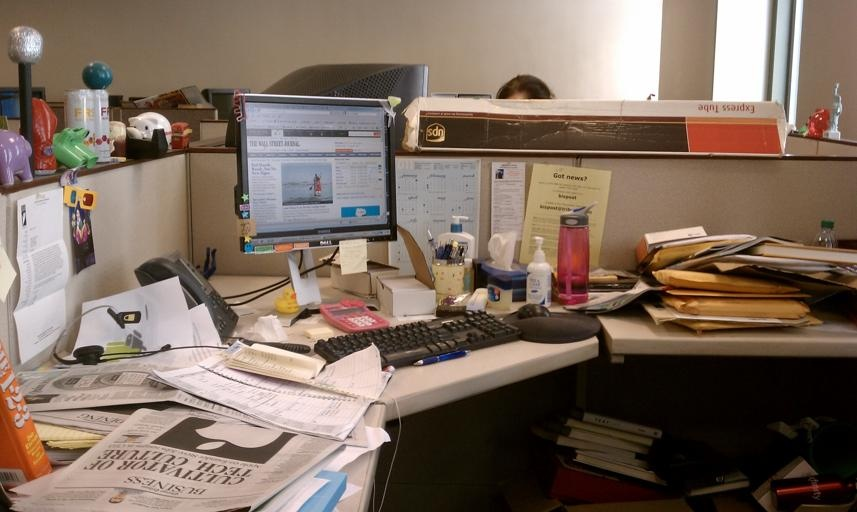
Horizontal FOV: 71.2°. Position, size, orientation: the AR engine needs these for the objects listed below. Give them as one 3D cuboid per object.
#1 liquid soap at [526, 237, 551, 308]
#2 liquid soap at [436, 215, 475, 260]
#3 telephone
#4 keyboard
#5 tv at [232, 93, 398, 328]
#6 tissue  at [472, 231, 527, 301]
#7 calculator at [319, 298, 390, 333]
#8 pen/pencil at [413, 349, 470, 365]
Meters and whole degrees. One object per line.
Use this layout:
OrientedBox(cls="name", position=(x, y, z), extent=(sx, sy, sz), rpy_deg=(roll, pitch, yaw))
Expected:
OrientedBox(cls="liquid soap", position=(0.350, 0.079, 1.903), extent=(0.075, 0.178, 0.092), rpy_deg=(0, 15, 9))
OrientedBox(cls="liquid soap", position=(0.116, -0.057, 2.080), extent=(0.138, 0.171, 0.067), rpy_deg=(4, 23, 36))
OrientedBox(cls="telephone", position=(-0.724, 0.121, 1.827), extent=(0.214, 0.248, 0.266), rpy_deg=(-11, 6, -13))
OrientedBox(cls="keyboard", position=(-0.020, 0.211, 1.674), extent=(0.472, 0.112, 0.303), rpy_deg=(-2, 1, -38))
OrientedBox(cls="tv", position=(-0.369, -0.178, 1.917), extent=(0.580, 0.655, 0.196), rpy_deg=(-9, 21, -36))
OrientedBox(cls="tissue ", position=(0.266, 0.026, 2.051), extent=(0.160, 0.231, 0.231), rpy_deg=(-6, 17, -9))
OrientedBox(cls="calculator", position=(-0.230, 0.191, 1.858), extent=(0.154, 0.051, 0.207), rpy_deg=(-7, 15, -40))
OrientedBox(cls="pen/pencil", position=(0.029, 0.277, 1.612), extent=(0.158, 0.016, 0.016), rpy_deg=(-7, 48, -25))
